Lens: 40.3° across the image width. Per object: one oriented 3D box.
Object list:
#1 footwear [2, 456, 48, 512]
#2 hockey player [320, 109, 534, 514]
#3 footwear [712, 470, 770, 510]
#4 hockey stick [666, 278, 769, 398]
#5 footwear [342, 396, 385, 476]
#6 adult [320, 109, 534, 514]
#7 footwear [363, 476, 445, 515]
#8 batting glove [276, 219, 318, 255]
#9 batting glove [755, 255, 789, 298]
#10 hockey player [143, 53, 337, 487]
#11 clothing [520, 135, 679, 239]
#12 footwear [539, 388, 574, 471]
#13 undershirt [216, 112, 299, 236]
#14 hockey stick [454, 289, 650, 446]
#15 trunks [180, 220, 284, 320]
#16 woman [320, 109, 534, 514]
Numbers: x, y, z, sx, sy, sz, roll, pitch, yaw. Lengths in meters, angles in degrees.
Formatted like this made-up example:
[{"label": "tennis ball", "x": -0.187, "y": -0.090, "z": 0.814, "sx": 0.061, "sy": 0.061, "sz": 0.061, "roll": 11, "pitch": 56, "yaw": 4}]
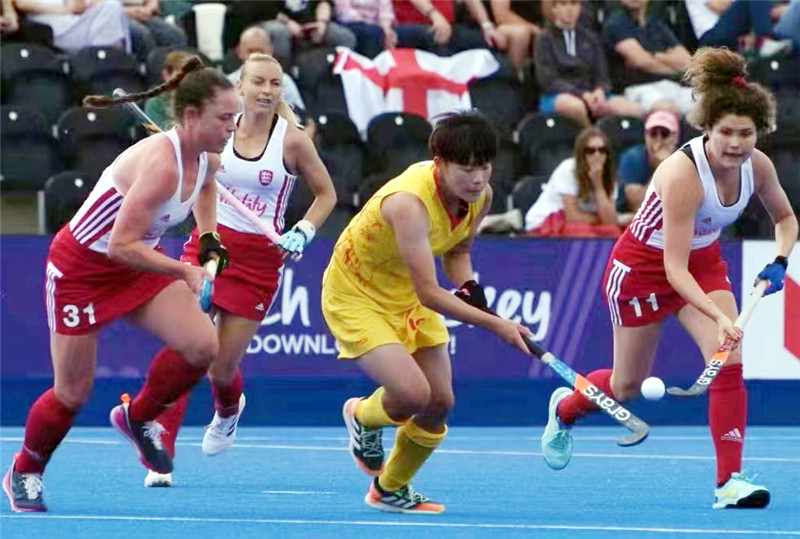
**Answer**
[{"label": "footwear", "x": -2.306, "y": 1.371, "z": 6.674, "sx": 0.161, "sy": 0.195, "sz": 0.421, "roll": 1, "pitch": 46, "yaw": -46}, {"label": "hockey player", "x": 0.058, "y": 0.284, "z": 6.607, "sx": 1.034, "sy": 2.448, "sz": 0.634, "roll": 0, "pitch": 4, "yaw": -6}, {"label": "footwear", "x": 2.123, "y": 1.395, "z": 6.841, "sx": 0.191, "sy": 0.180, "sz": 0.343, "roll": 9, "pitch": -16, "yaw": -44}, {"label": "hockey stick", "x": 2.217, "y": 0.463, "z": 7.600, "sx": 0.188, "sy": 1.142, "sz": 0.059, "roll": 26, "pitch": -19, "yaw": 46}, {"label": "footwear", "x": -0.248, "y": 1.092, "z": 6.817, "sx": 0.190, "sy": 0.556, "sz": 0.237, "roll": -16, "pitch": 0, "yaw": -31}, {"label": "adult", "x": 0.059, "y": 0.284, "z": 6.608, "sx": 1.027, "sy": 2.448, "sz": 0.633, "roll": 0, "pitch": 4, "yaw": -6}, {"label": "footwear", "x": 0.023, "y": 1.432, "z": 6.860, "sx": 0.504, "sy": 0.251, "sz": 0.196, "roll": 5, "pitch": -6, "yaw": 0}, {"label": "batting glove", "x": -0.696, "y": -0.182, "z": 7.310, "sx": 0.278, "sy": 0.166, "sz": 0.115, "roll": -47, "pitch": 2, "yaw": -39}, {"label": "batting glove", "x": 2.388, "y": 0.048, "z": 7.008, "sx": 0.153, "sy": 0.272, "sz": 0.113, "roll": 35, "pitch": -11, "yaw": 1}, {"label": "hockey player", "x": -1.130, "y": 0.000, "z": 7.443, "sx": 1.100, "sy": 2.932, "sz": 1.185, "roll": 12, "pitch": 7, "yaw": 38}, {"label": "clothing", "x": 1.714, "y": -0.679, "z": 9.471, "sx": 0.651, "sy": 1.007, "sz": 0.969, "roll": 2, "pitch": 5, "yaw": -26}, {"label": "footwear", "x": 1.074, "y": 1.139, "z": 7.530, "sx": 0.189, "sy": 0.612, "sz": 0.232, "roll": 0, "pitch": 7, "yaw": 0}, {"label": "undershirt", "x": -1.000, "y": -0.669, "z": 7.432, "sx": 0.576, "sy": 0.841, "sz": 0.420, "roll": 19, "pitch": 7, "yaw": 8}, {"label": "hockey stick", "x": 1.144, "y": 0.700, "z": 8.231, "sx": 0.292, "sy": 0.192, "sz": 1.736, "roll": -19, "pitch": 46, "yaw": -39}, {"label": "trunks", "x": -1.055, "y": 0.066, "z": 7.675, "sx": 0.567, "sy": 0.592, "sz": 0.350, "roll": 8, "pitch": -8, "yaw": 35}, {"label": "woman", "x": 0.060, "y": 0.284, "z": 6.608, "sx": 1.031, "sy": 2.448, "sz": 0.629, "roll": 0, "pitch": 4, "yaw": -6}]
